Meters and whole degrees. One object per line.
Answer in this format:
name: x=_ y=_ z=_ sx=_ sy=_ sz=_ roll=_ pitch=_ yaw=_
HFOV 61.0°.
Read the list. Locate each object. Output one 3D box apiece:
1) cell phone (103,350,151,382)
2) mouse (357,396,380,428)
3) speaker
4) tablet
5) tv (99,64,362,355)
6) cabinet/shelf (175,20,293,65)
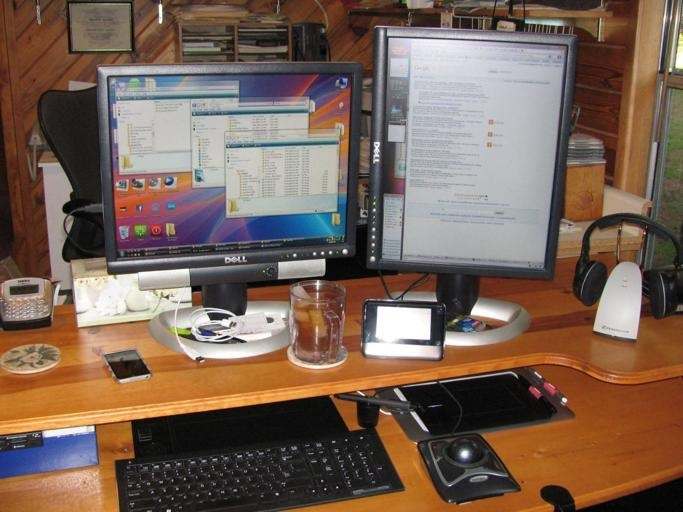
cell phone: x=-0.466 y=0.240 z=1.268 sx=0.073 sy=0.029 sz=0.113 roll=-15 pitch=24 yaw=-29
mouse: x=0.063 y=0.369 z=1.353 sx=0.071 sy=0.067 sz=0.067 roll=1 pitch=19 yaw=0
speaker: x=0.684 y=0.118 z=1.422 sx=0.110 sy=0.193 sz=0.047 roll=13 pitch=-8 yaw=22
tablet: x=0.305 y=0.364 z=1.416 sx=0.231 sy=0.015 sz=0.140 roll=-4 pitch=27 yaw=-10
tv: x=-0.266 y=-0.122 z=1.347 sx=0.694 sy=0.673 sz=0.278 roll=-3 pitch=20 yaw=-14
cabinet/shelf: x=-0.756 y=-1.596 z=4.125 sx=0.775 sy=0.228 sz=0.669 roll=-2 pitch=-6 yaw=-11
